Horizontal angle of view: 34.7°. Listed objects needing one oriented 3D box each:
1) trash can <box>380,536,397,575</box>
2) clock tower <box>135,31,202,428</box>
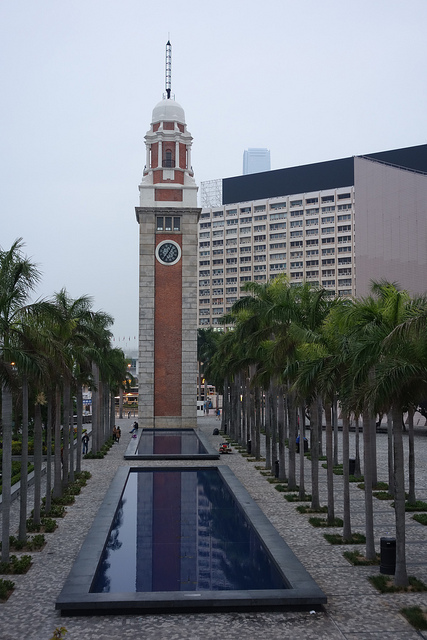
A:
[{"bbox_3d":[3.562,4.845,13.975,0.318,0.680,0.335,-2,-1,24],"label":"trash can"},{"bbox_3d":[-3.670,-5.473,57.836,5.280,28.538,5.379,-1,-1,-2],"label":"clock tower"}]
